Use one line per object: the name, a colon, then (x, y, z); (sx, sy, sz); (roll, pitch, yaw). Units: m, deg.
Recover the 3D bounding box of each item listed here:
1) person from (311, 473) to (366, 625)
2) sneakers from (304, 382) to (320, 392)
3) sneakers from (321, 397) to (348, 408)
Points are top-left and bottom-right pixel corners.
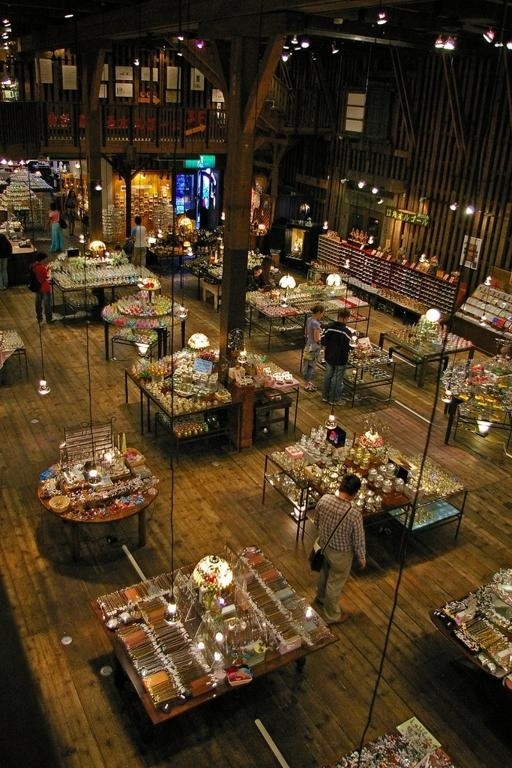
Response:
person: (0.878, 1.753, 5.647); (0.558, 1.774, 0.288); (6, 19, 6)
sneakers: (1.160, 0.054, 10.662); (0.250, 0.105, 0.168); (-12, 31, -39)
sneakers: (1.494, 0.360, 10.090); (0.382, 0.165, 0.131); (-1, 30, -3)
